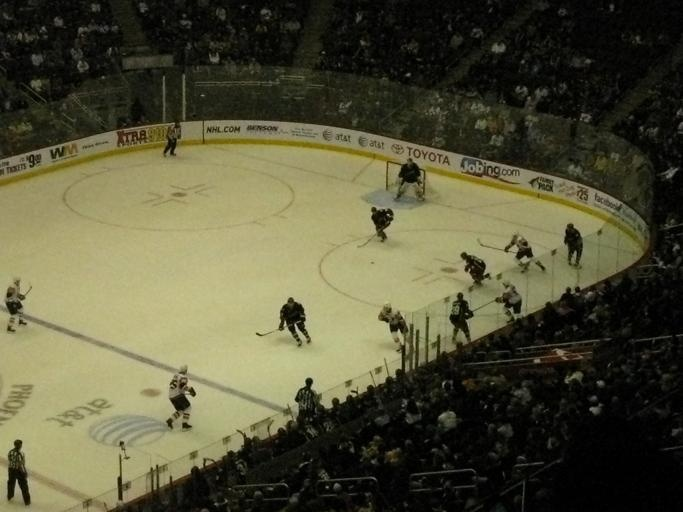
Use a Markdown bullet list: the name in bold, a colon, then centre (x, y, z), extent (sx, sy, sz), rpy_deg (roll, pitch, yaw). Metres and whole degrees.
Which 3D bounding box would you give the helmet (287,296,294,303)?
- **helmet**: centre (-1.501, 1.304, 22.439), extent (0.172, 0.145, 0.162), rpy_deg (0, 19, 1)

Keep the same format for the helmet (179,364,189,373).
- **helmet**: centre (-3.885, 2.791, 19.085), extent (0.244, 0.251, 0.317), rpy_deg (2, -2, -8)
